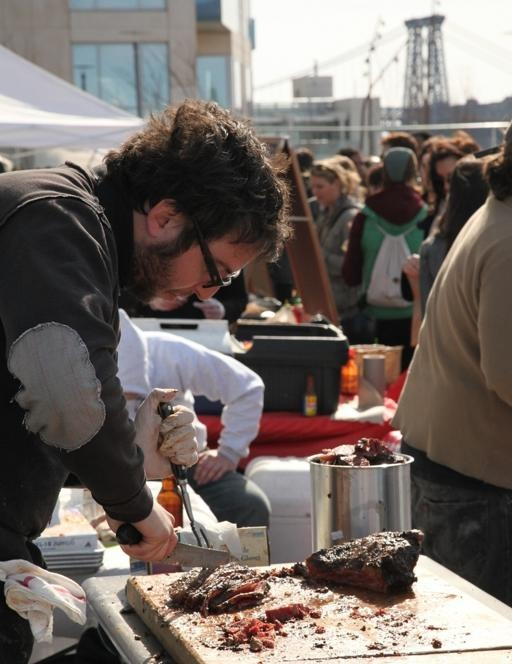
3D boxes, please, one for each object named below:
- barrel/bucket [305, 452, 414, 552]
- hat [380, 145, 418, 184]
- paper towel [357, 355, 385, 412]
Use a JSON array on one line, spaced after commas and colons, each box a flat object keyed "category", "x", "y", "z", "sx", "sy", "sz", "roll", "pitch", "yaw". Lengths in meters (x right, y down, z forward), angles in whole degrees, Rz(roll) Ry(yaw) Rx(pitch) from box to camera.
[{"category": "barrel/bucket", "x": 0.284, "y": 0.447, "z": 3.104, "sx": 0.251, "sy": 0.280, "sz": 0.254, "roll": -3, "pitch": 15, "yaw": 1}, {"category": "hat", "x": 0.773, "y": -0.906, "z": 6.155, "sx": 0.166, "sy": 0.186, "sz": 0.201, "roll": -1, "pitch": 14, "yaw": 9}, {"category": "paper towel", "x": 0.537, "y": 0.231, "z": 5.253, "sx": 0.093, "sy": 0.250, "sz": 0.094, "roll": 9, "pitch": 16, "yaw": 27}]
